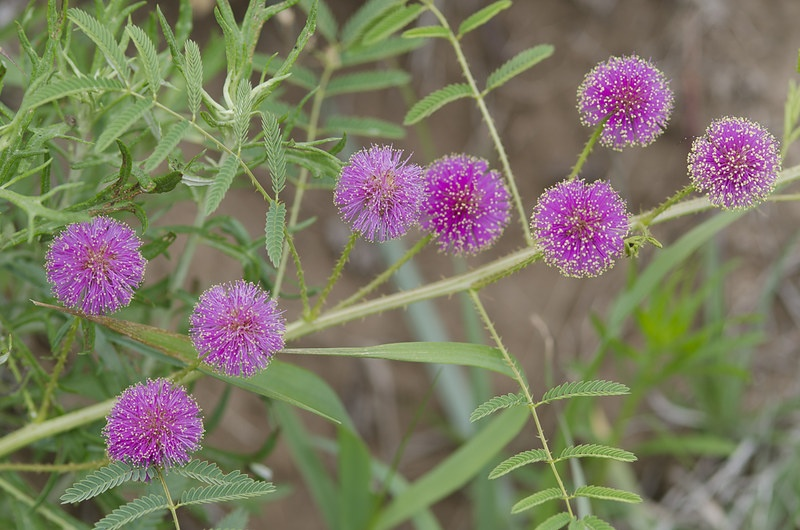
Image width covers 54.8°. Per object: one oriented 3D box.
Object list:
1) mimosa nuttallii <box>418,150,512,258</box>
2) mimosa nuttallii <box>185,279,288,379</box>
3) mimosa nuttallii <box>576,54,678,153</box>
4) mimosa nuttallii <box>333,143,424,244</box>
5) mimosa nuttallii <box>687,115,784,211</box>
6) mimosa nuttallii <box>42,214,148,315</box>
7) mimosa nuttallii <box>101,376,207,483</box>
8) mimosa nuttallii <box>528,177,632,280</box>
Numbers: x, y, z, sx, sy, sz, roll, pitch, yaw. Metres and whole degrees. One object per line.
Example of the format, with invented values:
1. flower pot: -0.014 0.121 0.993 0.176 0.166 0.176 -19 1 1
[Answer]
1. mimosa nuttallii: 0.081 -0.065 0.944 0.105 0.125 0.060 -11 1 -6
2. mimosa nuttallii: -0.189 0.050 0.911 0.095 0.062 0.092 17 21 -25
3. mimosa nuttallii: 0.271 -0.205 0.978 0.108 0.119 0.070 -16 -2 1
4. mimosa nuttallii: -0.023 -0.084 0.906 0.104 0.113 0.064 -23 5 -3
5. mimosa nuttallii: 0.394 -0.122 0.917 0.100 0.110 0.058 -13 -7 1
6. mimosa nuttallii: -0.350 -0.010 0.891 0.105 0.134 0.102 -2 40 -21
7. mimosa nuttallii: -0.287 0.192 0.915 0.113 0.108 0.093 23 38 9
8. mimosa nuttallii: 0.212 -0.046 0.912 0.114 0.096 0.077 23 38 9
